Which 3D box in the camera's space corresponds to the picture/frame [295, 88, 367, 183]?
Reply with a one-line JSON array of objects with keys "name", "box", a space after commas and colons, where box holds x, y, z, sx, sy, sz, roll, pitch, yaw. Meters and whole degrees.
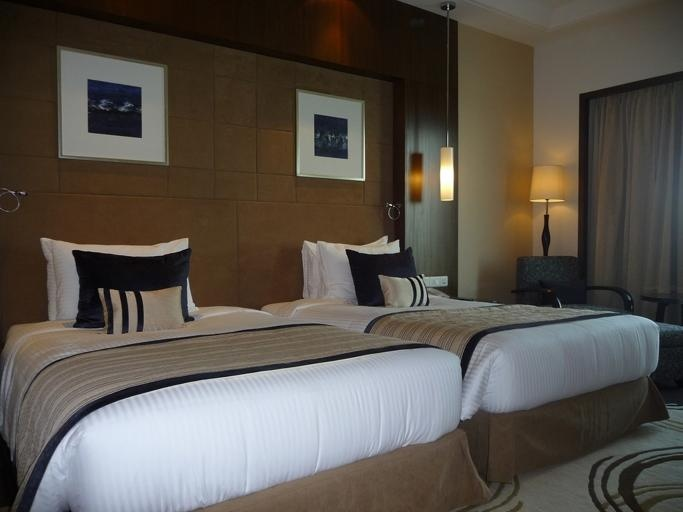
[{"name": "picture/frame", "box": [-0.128, -1.079, 4.920, 0.804, 0.929, 0.054, 1, 1, -39]}]

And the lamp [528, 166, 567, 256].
[{"name": "lamp", "box": [2.249, -0.501, 6.073, 0.315, 0.973, 0.394, 5, 9, 35]}]

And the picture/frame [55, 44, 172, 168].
[{"name": "picture/frame", "box": [-1.635, -1.044, 4.025, 0.709, 0.807, 0.035, -3, 35, -29]}]

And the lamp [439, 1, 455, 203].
[{"name": "lamp", "box": [1.038, -1.473, 5.392, 0.184, 1.871, 0.500, 2, 7, 10]}]
